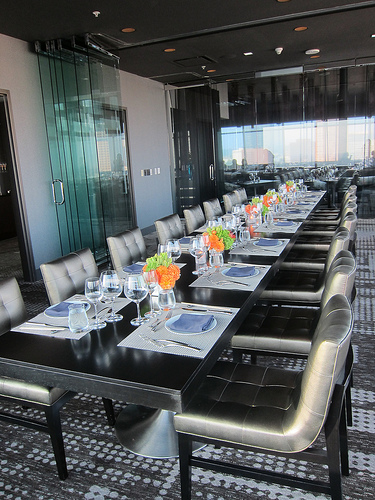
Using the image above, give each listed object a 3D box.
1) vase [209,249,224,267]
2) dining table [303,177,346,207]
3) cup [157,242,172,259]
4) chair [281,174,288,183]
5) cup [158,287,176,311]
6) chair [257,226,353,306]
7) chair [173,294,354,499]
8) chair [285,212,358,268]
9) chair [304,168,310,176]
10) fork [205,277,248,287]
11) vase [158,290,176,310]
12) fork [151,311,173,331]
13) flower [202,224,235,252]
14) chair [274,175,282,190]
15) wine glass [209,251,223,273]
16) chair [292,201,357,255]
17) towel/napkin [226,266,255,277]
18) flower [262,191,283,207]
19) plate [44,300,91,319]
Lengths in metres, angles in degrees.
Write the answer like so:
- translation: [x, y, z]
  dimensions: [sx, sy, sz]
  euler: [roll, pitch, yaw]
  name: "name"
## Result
- translation: [0.151, 0.049, 2.071]
  dimensions: [0.085, 0.110, 0.086]
  euler: [0, 6, 1]
  name: "vase"
- translation: [2.846, -1.256, 7.699]
  dimensions: [0.675, 0.626, 0.669]
  euler: [5, 21, 23]
  name: "dining table"
- translation: [-0.109, -0.001, 1.840]
  dimensions: [0.077, 0.074, 0.076]
  euler: [1, 11, 0]
  name: "cup"
- translation: [2.028, -1.519, 7.728]
  dimensions: [0.166, 0.181, 0.129]
  euler: [0, 13, 22]
  name: "chair"
- translation: [-0.081, 0.197, 1.466]
  dimensions: [0.088, 0.087, 0.088]
  euler: [-1, 2, 0]
  name: "cup"
- translation: [0.791, 0.082, 2.498]
  dimensions: [0.606, 0.551, 0.576]
  euler: [5, 24, 24]
  name: "chair"
- translation: [0.276, 0.523, 1.296]
  dimensions: [0.546, 0.728, 0.515]
  euler: [1, 14, 24]
  name: "chair"
- translation: [1.113, -0.086, 3.152]
  dimensions: [0.596, 0.517, 0.555]
  euler: [7, 20, 27]
  name: "chair"
- translation: [2.482, -1.640, 7.671]
  dimensions: [0.137, 0.224, 0.126]
  euler: [2, 16, 13]
  name: "chair"
- translation: [0.173, 0.163, 1.890]
  dimensions: [0.275, 0.037, 0.046]
  euler: [0, 9, 28]
  name: "fork"
- translation: [-0.076, 0.195, 1.463]
  dimensions: [0.078, 0.100, 0.078]
  euler: [0, 6, 5]
  name: "vase"
- translation: [-0.100, 0.263, 1.404]
  dimensions: [0.024, 0.021, 0.166]
  euler: [4, 19, 15]
  name: "fork"
- translation: [0.168, -0.060, 1.987]
  dimensions: [0.156, 0.093, 0.150]
  euler: [5, 14, 25]
  name: "flower"
- translation: [1.921, -1.443, 7.828]
  dimensions: [0.129, 0.306, 0.194]
  euler: [-9, 13, -20]
  name: "chair"
- translation: [0.160, 0.068, 2.032]
  dimensions: [0.104, 0.140, 0.101]
  euler: [1, 7, 8]
  name: "wine glass"
- translation: [1.326, -0.217, 3.634]
  dimensions: [0.604, 0.546, 0.616]
  euler: [5, 20, 21]
  name: "chair"
- translation: [0.286, 0.119, 1.982]
  dimensions: [0.083, 0.022, 0.086]
  euler: [1, 12, 24]
  name: "towel/napkin"
- translation: [0.948, -0.573, 4.099]
  dimensions: [0.334, 0.193, 0.302]
  euler: [-2, 9, 11]
  name: "flower"
- translation: [-0.535, 0.257, 1.600]
  dimensions: [0.109, 0.018, 0.101]
  euler: [-5, 18, -32]
  name: "plate"
